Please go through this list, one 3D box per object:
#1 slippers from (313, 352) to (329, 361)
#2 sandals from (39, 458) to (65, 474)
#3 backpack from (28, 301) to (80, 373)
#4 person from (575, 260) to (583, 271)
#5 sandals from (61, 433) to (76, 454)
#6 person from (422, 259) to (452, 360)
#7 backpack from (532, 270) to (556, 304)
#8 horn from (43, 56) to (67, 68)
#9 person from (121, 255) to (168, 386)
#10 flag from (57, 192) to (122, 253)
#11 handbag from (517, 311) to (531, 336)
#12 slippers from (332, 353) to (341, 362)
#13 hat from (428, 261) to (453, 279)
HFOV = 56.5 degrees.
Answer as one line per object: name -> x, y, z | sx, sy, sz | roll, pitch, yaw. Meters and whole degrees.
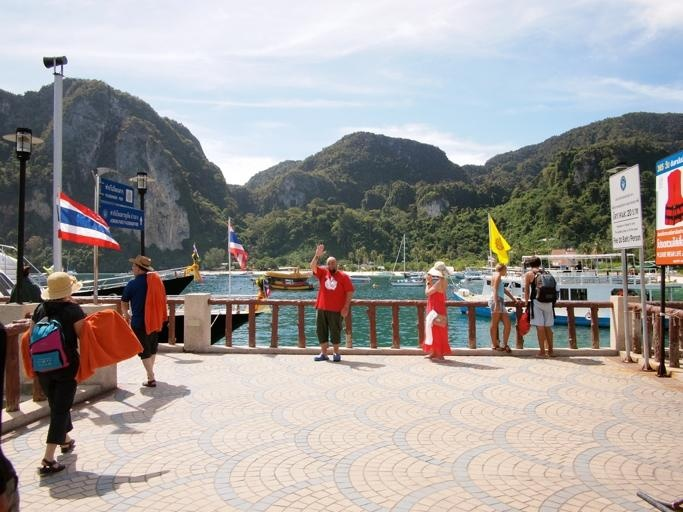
slippers -> -0.400, 1.952, 12.318 | 0.326, 0.139, 0.118 | 0, -2, 16
sandals -> -3.478, 2.524, 7.703 | 0.290, 0.136, 0.139 | 2, 0, -30
backpack -> -3.435, 0.986, 7.672 | 0.809, 0.908, 0.487 | 0, -10, -19
person -> 13.832, 0.552, 37.206 | 0.394, 0.320, 0.946 | -3, 38, 22
sandals -> -3.443, 2.381, 8.122 | 0.139, 0.144, 0.363 | 1, 5, -9
person -> 1.832, 1.031, 12.126 | 0.536, 1.986, 0.758 | 2, 9, 10
backpack -> 3.782, 0.590, 11.849 | 0.394, 0.554, 0.545 | 1, 4, 0
horn -> -6.895, -4.650, 15.364 | 0.489, 0.219, 0.297 | 5, 10, 29
person -> -3.216, 1.072, 10.461 | 0.707, 2.197, 1.450 | -3, 9, -16
flag -> -4.779, -0.632, 11.997 | 1.020, 1.066, 1.064 | -3, 10, -20
handbag -> 3.484, 1.278, 12.222 | 0.229, 0.404, 0.502 | 5, 4, 0
slippers -> -0.091, 1.947, 12.240 | 0.079, 0.101, 0.239 | 0, -1, 5
hat -> 1.864, 0.281, 12.100 | 0.353, 0.134, 0.366 | -2, 4, -13
